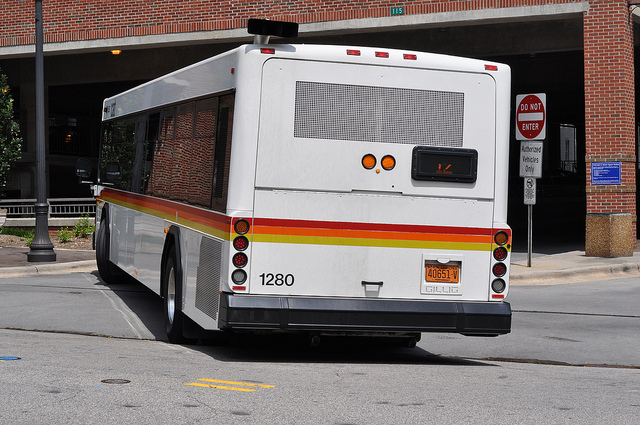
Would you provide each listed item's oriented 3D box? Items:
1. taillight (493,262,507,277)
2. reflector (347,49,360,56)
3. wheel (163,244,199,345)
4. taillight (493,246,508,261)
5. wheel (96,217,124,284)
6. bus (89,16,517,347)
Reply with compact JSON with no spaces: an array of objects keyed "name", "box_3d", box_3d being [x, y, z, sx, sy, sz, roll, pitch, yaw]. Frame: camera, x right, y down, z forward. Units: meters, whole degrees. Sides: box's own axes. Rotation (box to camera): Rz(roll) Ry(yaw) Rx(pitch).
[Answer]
[{"name":"taillight","box_3d":[2.478,0.794,10.534,0.197,0.200,0.022,0,4,-18]},{"name":"reflector","box_3d":[0.450,-2.164,10.245,0.160,0.065,0.034,1,4,1]},{"name":"wheel","box_3d":[-2.039,1.243,11.329,0.505,1.658,1.349,5,-6,-10]},{"name":"taillight","box_3d":[2.487,0.568,10.533,0.207,0.199,0.043,-1,4,-20]},{"name":"wheel","box_3d":[-4.604,0.969,16.789,0.577,1.266,0.523,0,4,-13]},{"name":"bus","box_3d":[-1.739,-0.361,15.075,4.014,4.476,11.318,3,1,-25]}]
